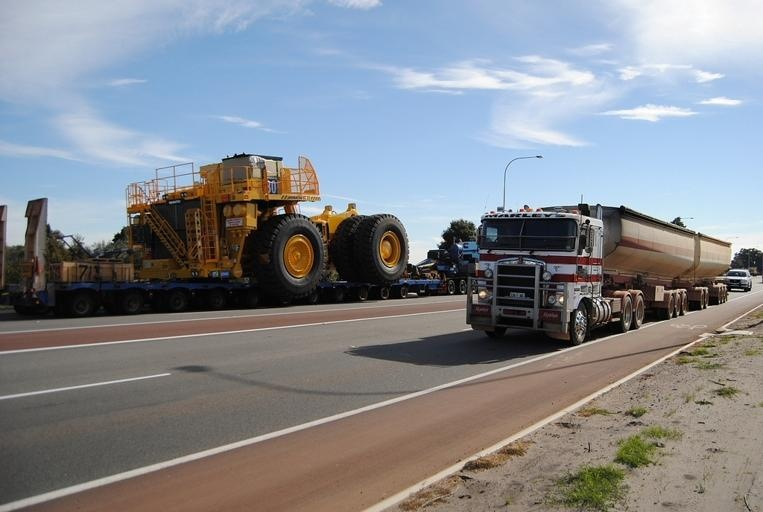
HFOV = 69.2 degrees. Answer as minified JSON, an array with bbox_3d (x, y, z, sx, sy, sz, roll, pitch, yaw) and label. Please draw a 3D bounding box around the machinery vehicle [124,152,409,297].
[{"bbox_3d":[-5.184,-1.094,27.969,7.370,5.810,11.662,-6,-9,42],"label":"machinery vehicle"}]
